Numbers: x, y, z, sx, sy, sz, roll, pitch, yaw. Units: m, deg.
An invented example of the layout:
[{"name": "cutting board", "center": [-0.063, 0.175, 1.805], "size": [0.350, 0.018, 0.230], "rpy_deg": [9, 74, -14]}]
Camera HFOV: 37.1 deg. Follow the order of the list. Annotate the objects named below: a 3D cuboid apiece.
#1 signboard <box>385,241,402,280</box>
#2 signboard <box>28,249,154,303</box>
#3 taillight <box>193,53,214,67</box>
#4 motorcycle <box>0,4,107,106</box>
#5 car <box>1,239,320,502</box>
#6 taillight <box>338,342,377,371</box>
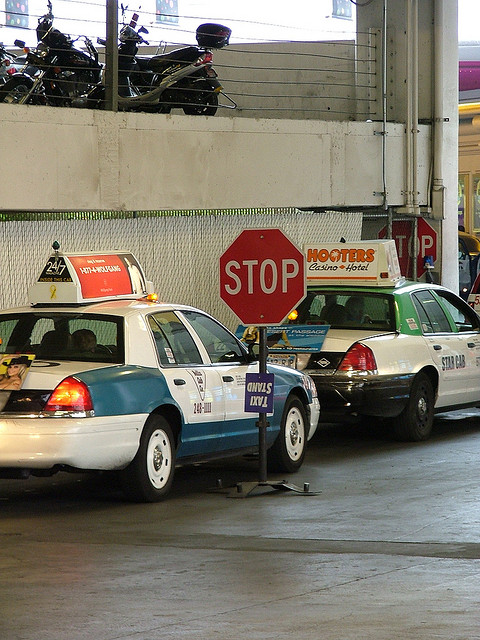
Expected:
[{"name": "signboard", "center": [2.009, -0.771, 9.448], "size": [0.202, 0.463, 0.802], "rpy_deg": [1, 13, 14]}, {"name": "signboard", "center": [-1.319, -0.366, 6.457], "size": [0.501, 0.442, 1.390], "rpy_deg": [1, 5, 17]}, {"name": "taillight", "center": [-0.620, -4.495, 12.487], "size": [0.198, 0.258, 0.422], "rpy_deg": [9, 16, 39]}, {"name": "motorcycle", "center": [-3.093, -4.159, 11.555], "size": [1.697, 1.517, 2.955], "rpy_deg": [-4, 13, -10]}, {"name": "car", "center": [-0.884, 0.327, 6.098], "size": [1.561, 1.403, 2.858], "rpy_deg": [0, 1, 39]}, {"name": "taillight", "center": [1.306, 0.419, 8.098], "size": [0.365, 0.327, 0.311], "rpy_deg": [2, 11, 19]}]
